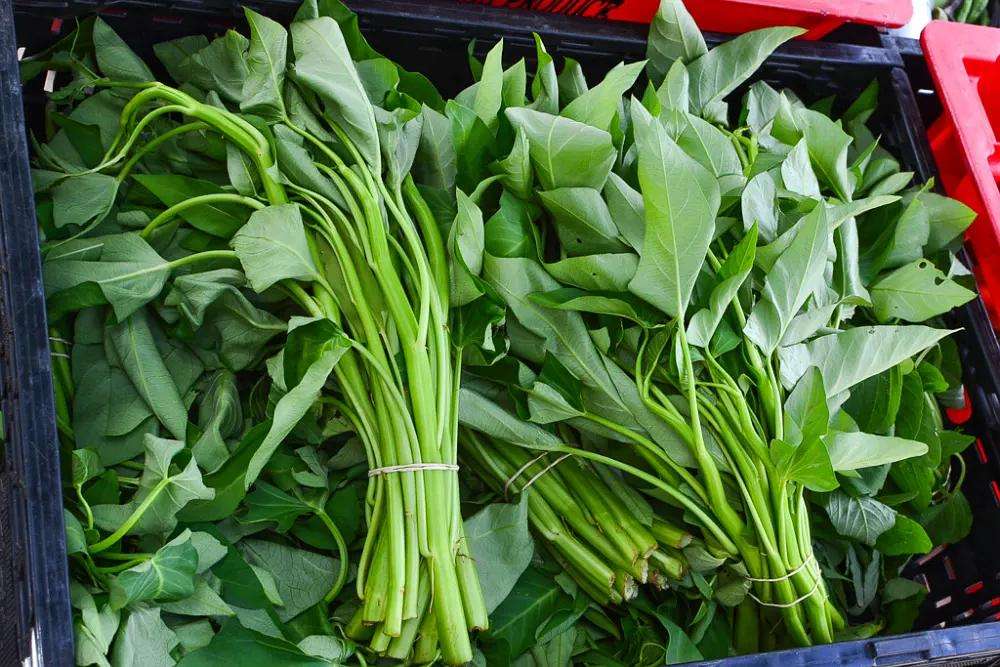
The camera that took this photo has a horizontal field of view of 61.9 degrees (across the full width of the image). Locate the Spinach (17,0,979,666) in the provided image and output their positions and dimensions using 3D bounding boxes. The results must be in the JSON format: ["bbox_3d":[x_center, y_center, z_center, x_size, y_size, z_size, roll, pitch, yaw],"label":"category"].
[{"bbox_3d":[0.027,-0.039,1.631,1.314,0.856,0.460,-3,-2,-6],"label":"Spinach"}]
